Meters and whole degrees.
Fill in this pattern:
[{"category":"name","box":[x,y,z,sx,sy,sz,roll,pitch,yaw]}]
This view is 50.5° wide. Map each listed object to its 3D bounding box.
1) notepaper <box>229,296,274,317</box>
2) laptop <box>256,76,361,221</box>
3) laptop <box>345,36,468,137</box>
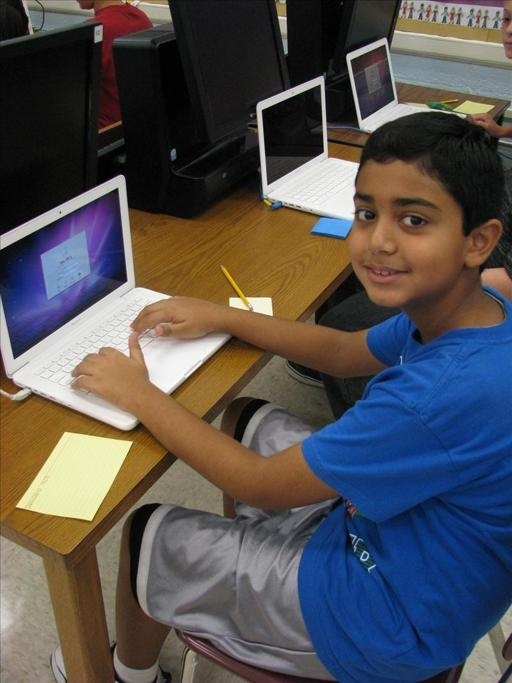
[{"category":"notepaper","box":[-0.007,-0.081,1.166,0.056,0.013,0.059,8,36,4]},{"category":"laptop","box":[0.242,-0.597,1.625,0.316,0.281,0.429,22,43,26]},{"category":"laptop","box":[0.679,-1.113,2.306,0.403,0.316,0.470,-6,13,-8]}]
